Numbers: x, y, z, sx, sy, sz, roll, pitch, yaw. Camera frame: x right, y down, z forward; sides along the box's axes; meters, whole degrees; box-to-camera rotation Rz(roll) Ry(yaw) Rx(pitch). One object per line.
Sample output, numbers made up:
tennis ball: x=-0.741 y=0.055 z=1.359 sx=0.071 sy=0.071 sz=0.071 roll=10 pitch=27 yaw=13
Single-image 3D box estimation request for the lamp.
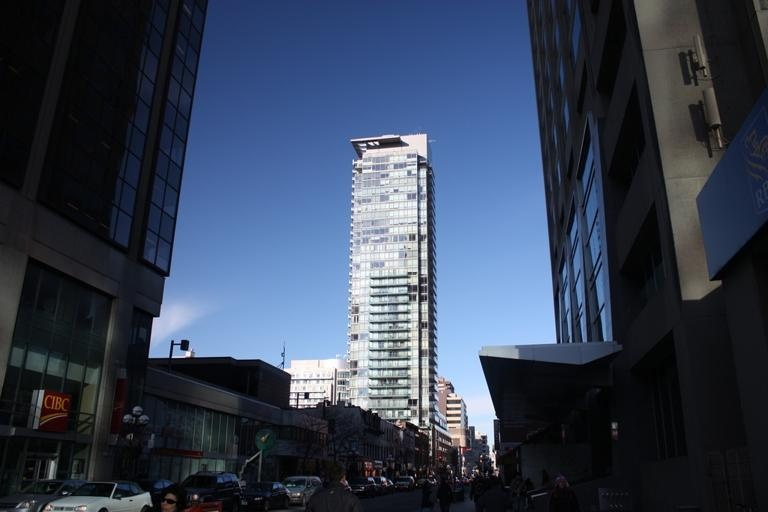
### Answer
lamp: x=10.924 y=-5.499 z=20.111 sx=0.732 sy=4.026 sz=1.539 roll=-14 pitch=-29 yaw=23
